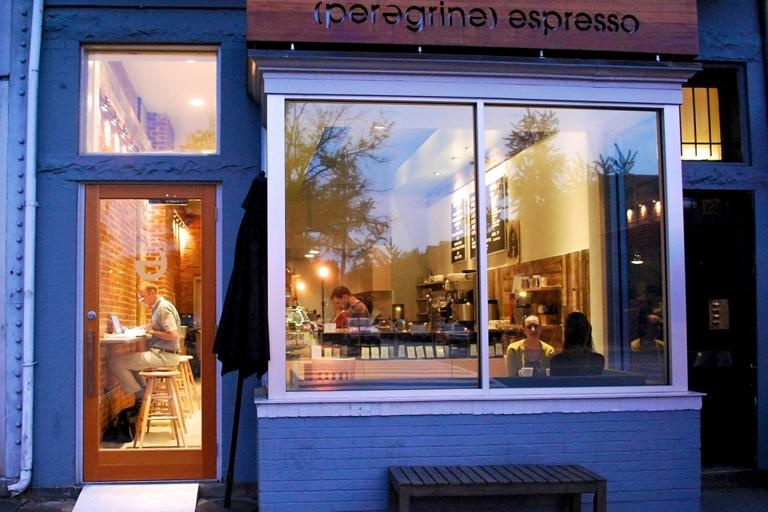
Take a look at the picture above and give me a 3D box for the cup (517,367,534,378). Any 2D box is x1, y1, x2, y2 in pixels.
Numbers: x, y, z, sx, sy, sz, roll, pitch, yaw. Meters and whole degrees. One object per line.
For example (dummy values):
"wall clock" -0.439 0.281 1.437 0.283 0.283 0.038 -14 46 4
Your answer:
"cup" 1.230 1.006 6.345 0.104 0.068 0.081 -2 -7 6

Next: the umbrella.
"umbrella" -1.218 0.732 6.321 0.437 2.967 0.752 2 -7 -37

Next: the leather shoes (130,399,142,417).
"leather shoes" -2.371 1.455 7.053 0.103 0.137 0.051 9 -8 -10

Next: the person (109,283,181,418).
"person" -2.356 0.910 7.257 0.709 1.184 0.559 2 -5 -20

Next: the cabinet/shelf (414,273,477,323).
"cabinet/shelf" 0.541 0.366 6.495 0.614 0.457 0.168 -7 -7 40
